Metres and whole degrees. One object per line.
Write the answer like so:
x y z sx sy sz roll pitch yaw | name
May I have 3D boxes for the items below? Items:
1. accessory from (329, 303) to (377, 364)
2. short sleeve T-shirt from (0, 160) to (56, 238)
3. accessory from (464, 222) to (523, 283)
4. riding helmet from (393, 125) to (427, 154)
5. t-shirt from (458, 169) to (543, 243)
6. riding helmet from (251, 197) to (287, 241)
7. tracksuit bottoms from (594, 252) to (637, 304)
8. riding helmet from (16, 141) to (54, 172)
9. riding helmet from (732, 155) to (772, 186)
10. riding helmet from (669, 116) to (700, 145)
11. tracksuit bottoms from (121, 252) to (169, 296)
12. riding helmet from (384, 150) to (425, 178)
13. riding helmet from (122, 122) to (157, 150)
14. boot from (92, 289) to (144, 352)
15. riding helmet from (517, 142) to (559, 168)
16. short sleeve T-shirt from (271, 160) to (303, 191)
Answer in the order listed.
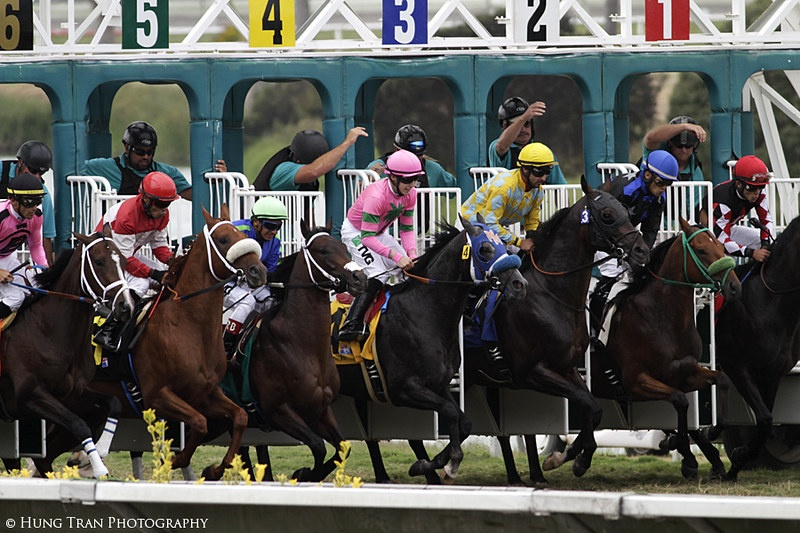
-0.425 0.578 12.483 0.420 0.512 0.211 0 0 41 | accessory
-3.445 -0.645 13.257 0.653 0.401 0.869 3 -11 -11 | short sleeve T-shirt
0.742 -0.109 11.917 0.457 0.498 0.198 -1 3 36 | accessory
0.090 -1.180 13.578 0.251 0.301 0.296 2 -23 -10 | riding helmet
0.839 -0.426 12.946 0.661 0.763 0.883 -7 10 -42 | t-shirt
-1.136 -0.405 12.385 0.287 0.356 0.336 -3 22 -38 | riding helmet
1.937 0.073 13.134 0.329 0.139 0.475 2 -34 -20 | tracksuit bottoms
-3.365 -1.004 13.228 0.266 0.259 0.315 23 -2 -26 | riding helmet
3.183 -0.865 13.157 0.307 0.271 0.335 -2 2 13 | riding helmet
2.708 -1.281 13.836 0.265 0.300 0.468 -2 2 12 | riding helmet
-2.261 0.015 12.611 0.436 0.124 0.217 16 -35 0 | tracksuit bottoms
0.032 -0.870 12.373 0.270 0.129 0.198 0 13 -3 | riding helmet
-2.585 -1.260 14.170 0.259 0.275 0.292 5 -18 -21 | riding helmet
-2.354 0.482 12.056 0.203 0.560 0.416 41 23 7 | boot
1.157 -0.964 12.596 0.333 0.214 0.340 -2 2 7 | riding helmet
-1.107 -0.843 13.684 0.303 0.272 0.282 -3 2 -5 | short sleeve T-shirt
